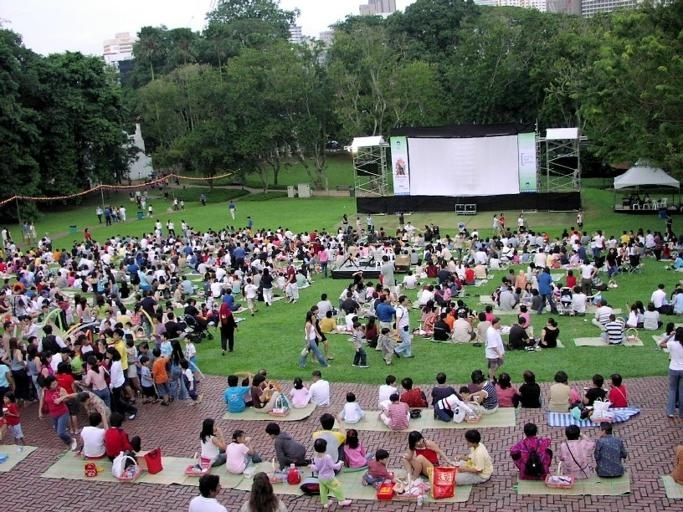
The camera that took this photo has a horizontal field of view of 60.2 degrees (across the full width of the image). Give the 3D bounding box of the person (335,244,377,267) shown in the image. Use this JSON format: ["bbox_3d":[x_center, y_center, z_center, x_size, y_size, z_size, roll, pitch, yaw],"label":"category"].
[{"bbox_3d":[0.792,0.064,33.738,1.716,0.540,1.247,-4,9,-15],"label":"person"}]

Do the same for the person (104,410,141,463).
[{"bbox_3d":[-5.849,4.834,15.580,1.009,1.333,0.601,3,15,34],"label":"person"}]

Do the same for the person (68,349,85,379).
[{"bbox_3d":[-8.155,3.266,17.980,0.316,0.612,0.827,-15,53,-19],"label":"person"}]

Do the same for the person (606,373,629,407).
[{"bbox_3d":[7.486,3.699,16.068,0.578,0.961,0.430,-5,12,0],"label":"person"}]

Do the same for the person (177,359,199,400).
[{"bbox_3d":[-4.938,3.859,18.898,0.476,1.458,1.122,-9,13,-16],"label":"person"}]

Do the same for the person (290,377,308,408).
[{"bbox_3d":[-1.246,4.069,17.507,0.533,0.973,0.357,-7,12,-7],"label":"person"}]

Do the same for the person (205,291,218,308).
[{"bbox_3d":[-5.896,2.014,26.677,0.505,0.927,0.398,-18,24,-37],"label":"person"}]

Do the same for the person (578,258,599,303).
[{"bbox_3d":[10.885,1.015,26.205,0.772,1.762,0.500,9,29,31],"label":"person"}]

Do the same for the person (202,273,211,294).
[{"bbox_3d":[-6.443,1.311,28.225,0.379,0.874,0.787,-7,13,-10],"label":"person"}]

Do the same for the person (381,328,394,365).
[{"bbox_3d":[1.603,3.107,20.553,0.476,1.088,1.105,-4,12,3],"label":"person"}]

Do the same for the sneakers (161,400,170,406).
[{"bbox_3d":[-5.611,4.674,18.671,0.253,0.166,0.222,-7,13,-9],"label":"sneakers"}]

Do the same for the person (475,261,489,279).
[{"bbox_3d":[7.239,0.772,30.712,0.836,1.014,0.625,1,19,10],"label":"person"}]

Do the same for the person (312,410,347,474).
[{"bbox_3d":[-0.279,4.777,14.760,0.715,1.759,0.931,-2,14,13],"label":"person"}]

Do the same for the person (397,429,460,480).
[{"bbox_3d":[2.057,4.914,14.058,1.220,1.407,0.741,0,-3,-7],"label":"person"}]

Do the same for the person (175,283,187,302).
[{"bbox_3d":[-7.938,1.764,28.651,0.368,0.872,1.495,-7,13,-8],"label":"person"}]

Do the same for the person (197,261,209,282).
[{"bbox_3d":[-7.568,0.874,32.062,0.676,1.378,0.715,6,34,2],"label":"person"}]

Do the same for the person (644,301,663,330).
[{"bbox_3d":[11.221,2.206,21.209,0.766,0.983,0.609,3,21,25],"label":"person"}]

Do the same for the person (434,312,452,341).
[{"bbox_3d":[3.599,2.704,22.151,0.819,1.132,0.800,3,-3,18],"label":"person"}]

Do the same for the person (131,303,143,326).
[{"bbox_3d":[-8.260,2.406,23.812,0.657,0.931,0.412,1,9,16],"label":"person"}]

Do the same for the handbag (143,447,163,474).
[{"bbox_3d":[-4.924,5.386,15.376,0.508,0.603,0.345,-14,15,-34],"label":"handbag"}]

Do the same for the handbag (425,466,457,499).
[{"bbox_3d":[2.307,5.334,13.712,0.668,0.686,0.287,-1,8,-8],"label":"handbag"}]

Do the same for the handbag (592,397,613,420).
[{"bbox_3d":[6.808,4.103,15.558,0.456,0.481,0.170,-2,-12,7],"label":"handbag"}]

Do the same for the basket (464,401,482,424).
[{"bbox_3d":[3.641,4.372,16.300,0.424,0.443,0.451,-3,13,12],"label":"basket"}]

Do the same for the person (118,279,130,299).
[{"bbox_3d":[-10.377,1.596,27.953,0.443,1.088,0.633,-9,49,-18],"label":"person"}]

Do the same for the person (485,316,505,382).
[{"bbox_3d":[4.784,3.010,18.541,0.726,2.579,0.979,-2,23,8],"label":"person"}]

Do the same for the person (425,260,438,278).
[{"bbox_3d":[4.661,0.751,30.637,0.541,0.811,1.082,-4,13,5],"label":"person"}]

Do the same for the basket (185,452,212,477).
[{"bbox_3d":[-3.763,5.411,15.169,0.771,0.448,0.536,5,16,39],"label":"basket"}]

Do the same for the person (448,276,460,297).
[{"bbox_3d":[5.020,1.434,26.681,0.555,1.186,0.671,-7,29,10],"label":"person"}]

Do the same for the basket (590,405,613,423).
[{"bbox_3d":[6.812,4.165,15.480,0.562,0.529,0.299,-5,12,1],"label":"basket"}]

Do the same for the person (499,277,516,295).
[{"bbox_3d":[7.175,1.312,25.497,0.423,0.746,0.286,-39,42,-23],"label":"person"}]

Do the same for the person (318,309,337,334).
[{"bbox_3d":[-0.603,2.609,22.983,0.574,1.106,0.635,10,38,9],"label":"person"}]

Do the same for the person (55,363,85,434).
[{"bbox_3d":[-7.901,4.117,17.226,0.698,2.183,0.649,4,19,19],"label":"person"}]

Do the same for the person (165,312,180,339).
[{"bbox_3d":[-5.797,2.478,20.032,0.408,0.873,1.367,-9,13,-17],"label":"person"}]

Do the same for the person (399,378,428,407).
[{"bbox_3d":[2.092,4.072,17.313,0.480,0.851,0.489,-26,23,10],"label":"person"}]

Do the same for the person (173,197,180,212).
[{"bbox_3d":[-18.007,-5.591,63.836,0.751,0.780,2.111,18,4,-17],"label":"person"}]

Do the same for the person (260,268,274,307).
[{"bbox_3d":[-3.589,1.395,28.055,0.465,1.938,1.185,-8,13,-15],"label":"person"}]

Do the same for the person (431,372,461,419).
[{"bbox_3d":[2.820,3.743,16.635,0.855,0.996,0.626,-7,14,4],"label":"person"}]

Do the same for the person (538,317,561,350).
[{"bbox_3d":[7.151,2.689,20.456,0.792,1.261,0.976,0,12,10],"label":"person"}]

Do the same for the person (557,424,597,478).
[{"bbox_3d":[5.555,4.709,13.941,0.669,1.539,0.928,3,38,22],"label":"person"}]

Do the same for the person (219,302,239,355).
[{"bbox_3d":[-4.270,2.657,21.759,0.583,1.975,0.811,-8,13,-13],"label":"person"}]

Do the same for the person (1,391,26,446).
[{"bbox_3d":[-9.531,4.667,16.971,0.404,1.614,0.629,-13,15,-33],"label":"person"}]

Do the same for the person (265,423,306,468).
[{"bbox_3d":[-1.363,4.743,14.601,0.864,1.284,0.465,-6,12,-3],"label":"person"}]

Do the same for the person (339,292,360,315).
[{"bbox_3d":[0.287,1.973,23.937,0.712,1.664,0.592,2,33,4],"label":"person"}]
